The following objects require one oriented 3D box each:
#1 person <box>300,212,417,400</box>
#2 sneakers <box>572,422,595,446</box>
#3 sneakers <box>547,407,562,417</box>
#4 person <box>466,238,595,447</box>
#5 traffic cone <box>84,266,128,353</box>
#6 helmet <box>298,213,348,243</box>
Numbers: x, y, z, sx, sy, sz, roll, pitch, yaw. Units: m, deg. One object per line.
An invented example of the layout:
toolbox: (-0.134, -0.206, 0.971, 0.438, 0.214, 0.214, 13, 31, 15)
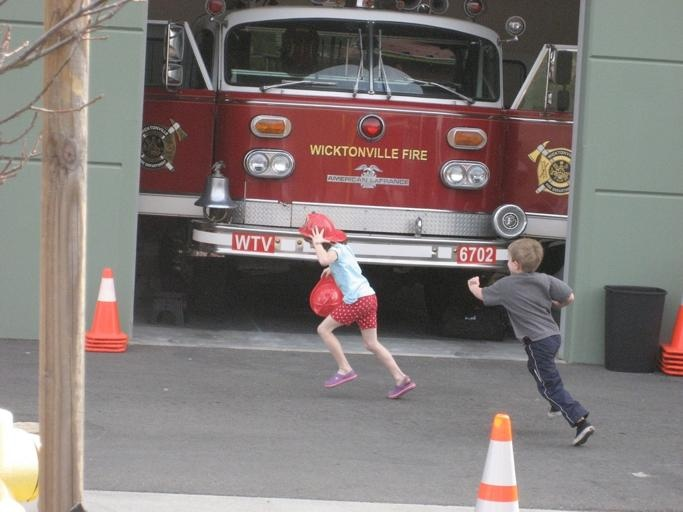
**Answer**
person: (0.109, 0.468, 11.801, 0.847, 1.581, 1.137, -6, 14, -37)
sneakers: (1.970, 1.450, 10.839, 0.099, 0.123, 0.271, -9, -35, -30)
sneakers: (1.833, 1.338, 11.365, 0.067, 0.081, 0.174, -3, -7, -1)
person: (1.626, 0.693, 11.039, 0.831, 1.579, 1.062, -2, 12, -24)
traffic cone: (-2.278, 0.516, 12.864, 0.393, 0.803, 0.246, 1, 11, -11)
helmet: (-0.150, -0.219, 11.814, 0.331, 0.145, 0.256, 22, 23, 10)
